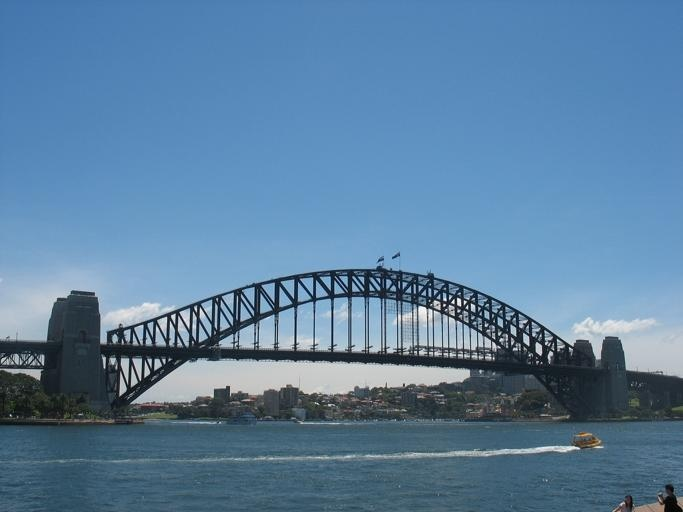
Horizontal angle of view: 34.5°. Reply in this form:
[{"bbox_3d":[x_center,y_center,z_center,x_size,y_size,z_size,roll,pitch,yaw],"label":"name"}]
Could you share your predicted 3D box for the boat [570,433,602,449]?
[{"bbox_3d":[34.187,26.133,154.520,2.814,2.183,5.625,-3,-4,25],"label":"boat"}]
